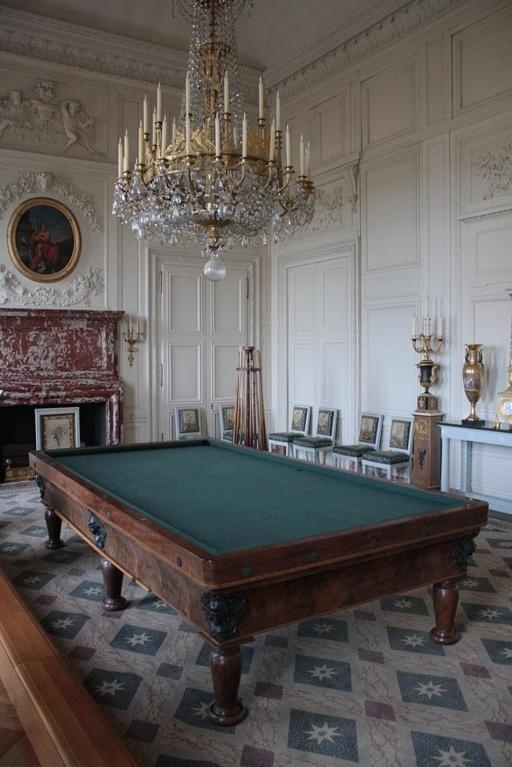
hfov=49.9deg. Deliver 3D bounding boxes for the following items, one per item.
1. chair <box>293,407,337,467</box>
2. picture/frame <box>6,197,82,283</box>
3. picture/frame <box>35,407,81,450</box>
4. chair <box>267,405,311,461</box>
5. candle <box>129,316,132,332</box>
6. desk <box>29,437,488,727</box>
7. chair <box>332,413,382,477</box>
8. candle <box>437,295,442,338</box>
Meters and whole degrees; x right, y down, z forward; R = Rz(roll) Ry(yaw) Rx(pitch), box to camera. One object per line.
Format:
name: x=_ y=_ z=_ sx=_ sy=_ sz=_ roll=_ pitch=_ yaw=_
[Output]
chair: x=0.664 y=0.645 z=6.188 sx=0.412 sy=0.725 sz=0.423 roll=2 pitch=1 yaw=44
picture/frame: x=-2.310 y=-1.531 z=5.896 sx=0.891 sy=1.199 sz=0.118 roll=-3 pitch=-1 yaw=-44
picture/frame: x=-2.079 y=0.474 z=5.737 sx=0.415 sy=0.369 sz=0.046 roll=0 pitch=7 yaw=-40
chair: x=0.417 y=0.622 z=6.537 sx=0.409 sy=0.693 sz=0.396 roll=-1 pitch=2 yaw=-27
candle: x=-1.462 y=-0.701 z=6.410 sx=0.050 sy=0.160 sz=0.015 roll=1 pitch=-1 yaw=-9
desk: x=-0.152 y=0.723 z=2.788 sx=1.490 sy=0.746 sz=2.448 roll=2 pitch=-3 yaw=-32
chair: x=1.032 y=0.670 z=5.582 sx=0.402 sy=0.728 sz=0.385 roll=1 pitch=2 yaw=-36
candle: x=1.649 y=-0.591 z=4.924 sx=0.012 sy=0.324 sz=0.060 roll=1 pitch=-1 yaw=-38
